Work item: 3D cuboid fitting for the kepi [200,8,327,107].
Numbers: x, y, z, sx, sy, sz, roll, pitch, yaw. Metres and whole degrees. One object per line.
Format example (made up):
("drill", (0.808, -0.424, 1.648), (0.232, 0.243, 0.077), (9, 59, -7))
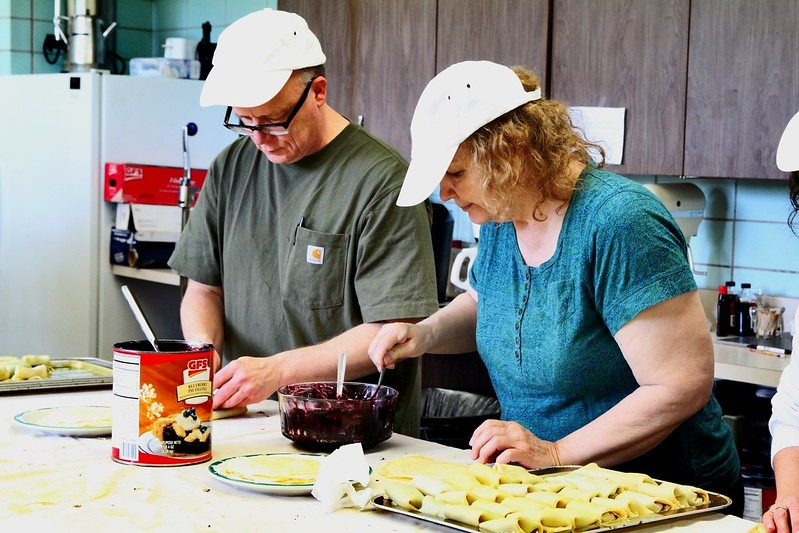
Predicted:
("kepi", (-0.346, -0.551, 1.965), (0.244, 0.189, 0.322), (7, 28, 38))

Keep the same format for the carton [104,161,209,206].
("carton", (-1.277, -0.422, 3.743), (0.419, 0.148, 0.119), (0, -4, -43))

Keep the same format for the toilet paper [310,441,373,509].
("toilet paper", (-0.102, 0.387, 1.318), (0.109, 0.087, 0.098), (-1, 9, -7))

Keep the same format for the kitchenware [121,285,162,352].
("kitchenware", (-1.053, 0.200, 2.945), (0.056, 0.367, 0.042), (-31, -11, 26))

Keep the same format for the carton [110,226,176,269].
("carton", (-1.357, -0.083, 3.876), (0.295, 0.187, 0.302), (5, 5, 44))

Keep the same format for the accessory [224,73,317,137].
("accessory", (-0.330, -0.458, 1.922), (0.195, 0.054, 0.198), (3, 31, 47))
